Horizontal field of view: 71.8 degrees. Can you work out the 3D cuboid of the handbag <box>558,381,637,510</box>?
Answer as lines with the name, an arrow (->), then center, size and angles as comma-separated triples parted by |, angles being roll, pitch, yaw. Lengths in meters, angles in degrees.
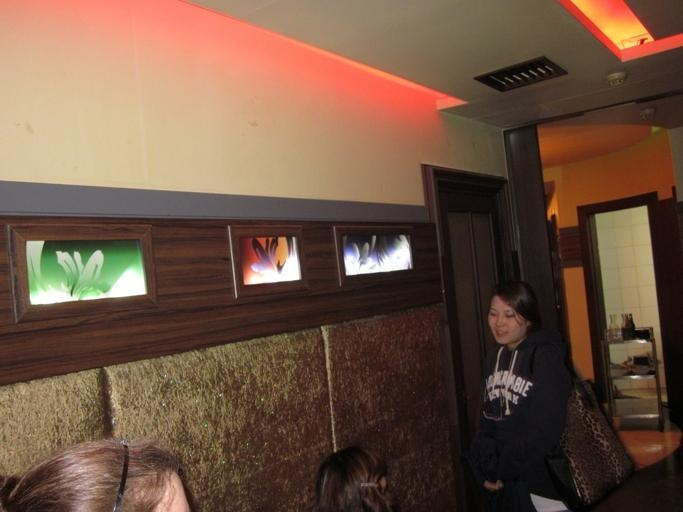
handbag -> 1.133, 0.843, 2.116 | 0.392, 0.626, 0.189 | -4, -1, -39
